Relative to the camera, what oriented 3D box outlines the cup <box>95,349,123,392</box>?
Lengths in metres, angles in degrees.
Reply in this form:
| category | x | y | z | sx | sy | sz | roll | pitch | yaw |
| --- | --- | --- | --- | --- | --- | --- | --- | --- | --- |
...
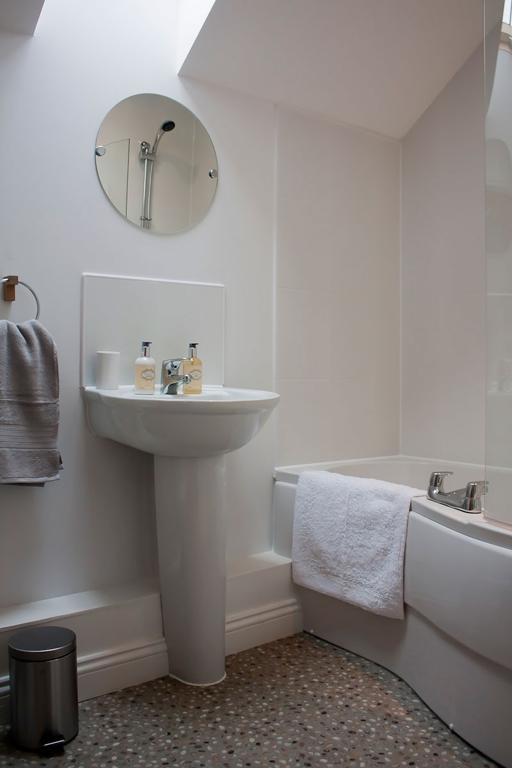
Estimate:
| category | x | y | z | sx | sy | sz | roll | pitch | yaw |
| --- | --- | --- | --- | --- | --- | --- | --- | --- | --- |
| cup | -0.405 | -0.036 | 1.584 | 0.080 | 0.154 | 0.086 | 1 | 5 | 0 |

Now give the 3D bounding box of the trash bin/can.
| category | x | y | z | sx | sy | sz | roll | pitch | yaw |
| --- | --- | --- | --- | --- | --- | --- | --- | --- | --- |
| trash bin/can | -0.445 | 0.661 | 1.284 | 0.142 | 0.247 | 0.199 | 2 | -8 | -33 |

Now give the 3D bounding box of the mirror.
| category | x | y | z | sx | sy | sz | roll | pitch | yaw |
| --- | --- | --- | --- | --- | --- | --- | --- | --- | --- |
| mirror | -0.296 | -0.671 | 1.711 | 0.368 | 0.457 | 0.134 | 5 | -6 | -11 |

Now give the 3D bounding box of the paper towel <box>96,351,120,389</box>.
| category | x | y | z | sx | sy | sz | roll | pitch | yaw |
| --- | --- | --- | --- | --- | --- | --- | --- | --- | --- |
| paper towel | -0.414 | -0.042 | 1.614 | 0.062 | 0.112 | 0.082 | 0 | -2 | -16 |

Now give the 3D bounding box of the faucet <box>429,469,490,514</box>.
| category | x | y | z | sx | sy | sz | roll | pitch | yaw |
| --- | --- | --- | --- | --- | --- | --- | --- | --- | --- |
| faucet | 0.468 | 0.259 | 1.398 | 0.056 | 0.099 | 0.197 | 1 | -3 | -18 |

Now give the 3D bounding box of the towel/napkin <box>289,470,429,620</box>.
| category | x | y | z | sx | sy | sz | roll | pitch | yaw |
| --- | --- | --- | --- | --- | --- | --- | --- | --- | --- |
| towel/napkin | 0.278 | 0.454 | 1.602 | 0.156 | 0.407 | 0.408 | 0 | 3 | -43 |

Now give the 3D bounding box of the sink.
| category | x | y | z | sx | sy | sz | roll | pitch | yaw |
| --- | --- | --- | --- | --- | --- | --- | --- | --- | --- |
| sink | -0.210 | 0.068 | 1.517 | 0.412 | 0.192 | 0.472 | -14 | 11 | -42 |
